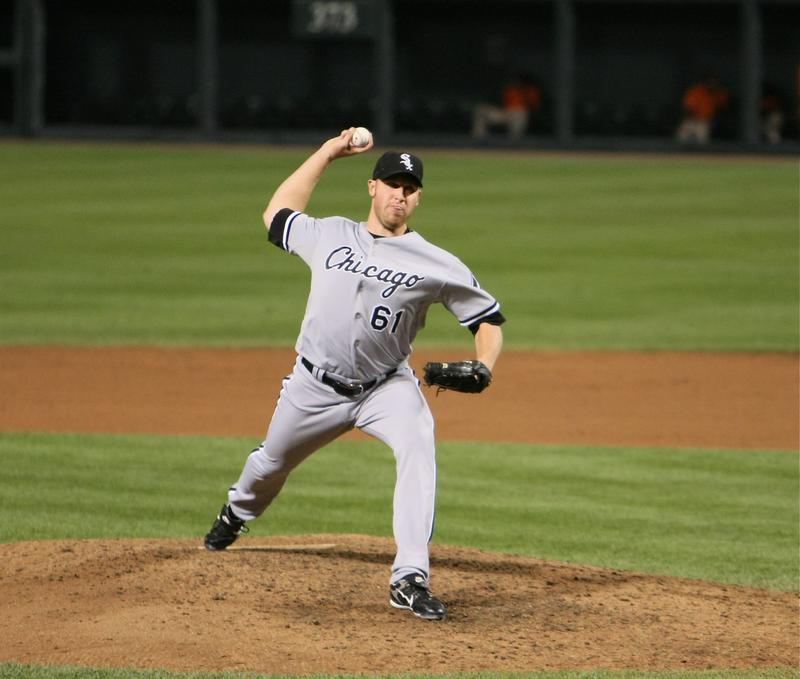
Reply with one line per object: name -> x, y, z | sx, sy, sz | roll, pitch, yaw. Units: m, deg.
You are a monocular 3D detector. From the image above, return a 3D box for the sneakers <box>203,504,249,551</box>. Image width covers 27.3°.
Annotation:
sneakers -> -1.240, 1.350, 11.765 | 0.099, 0.289, 0.207 | 45, 28, 13

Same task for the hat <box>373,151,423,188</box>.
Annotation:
hat -> -0.021, -1.169, 11.218 | 0.335, 0.233, 0.207 | 3, 6, 9

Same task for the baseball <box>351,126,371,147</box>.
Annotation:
baseball -> -0.278, -1.413, 11.408 | 0.129, 0.125, 0.091 | 3, 1, 21
